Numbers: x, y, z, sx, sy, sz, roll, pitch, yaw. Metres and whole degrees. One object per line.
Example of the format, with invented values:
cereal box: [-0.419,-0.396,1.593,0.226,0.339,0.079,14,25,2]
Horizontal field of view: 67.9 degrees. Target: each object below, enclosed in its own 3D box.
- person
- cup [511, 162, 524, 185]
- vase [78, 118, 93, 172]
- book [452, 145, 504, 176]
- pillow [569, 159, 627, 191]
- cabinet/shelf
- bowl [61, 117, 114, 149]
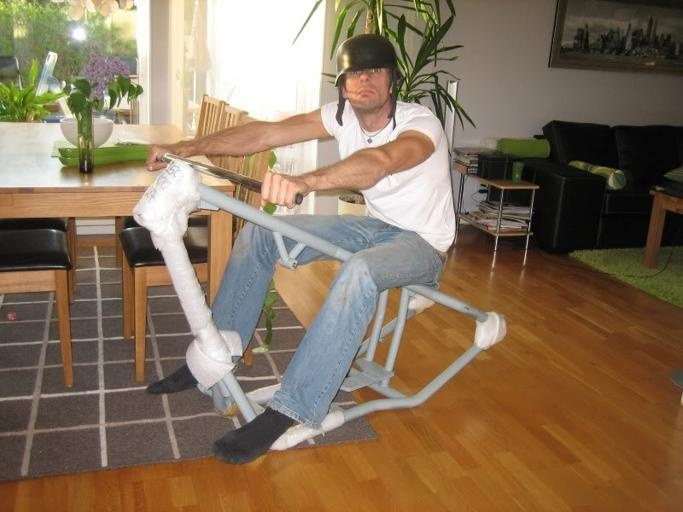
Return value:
person: [-0.071,-0.120,1.964,1.206,1.381,1.114,-7,20,-24]
cup: [1.402,-0.674,4.040,0.084,0.162,0.151,9,20,15]
vase: [-1.082,-0.473,2.138,0.062,0.228,0.126,-4,21,-20]
book: [1.199,-0.867,4.421,0.329,0.078,0.321,-13,24,-29]
pillow: [2.135,-0.678,4.235,0.301,0.115,0.348,0,19,-35]
cabinet/shelf: [1.309,-0.276,4.185,0.316,0.543,0.740,0,19,-4]
bowl: [-1.205,-0.590,2.410,0.205,0.123,0.202,2,13,0]
